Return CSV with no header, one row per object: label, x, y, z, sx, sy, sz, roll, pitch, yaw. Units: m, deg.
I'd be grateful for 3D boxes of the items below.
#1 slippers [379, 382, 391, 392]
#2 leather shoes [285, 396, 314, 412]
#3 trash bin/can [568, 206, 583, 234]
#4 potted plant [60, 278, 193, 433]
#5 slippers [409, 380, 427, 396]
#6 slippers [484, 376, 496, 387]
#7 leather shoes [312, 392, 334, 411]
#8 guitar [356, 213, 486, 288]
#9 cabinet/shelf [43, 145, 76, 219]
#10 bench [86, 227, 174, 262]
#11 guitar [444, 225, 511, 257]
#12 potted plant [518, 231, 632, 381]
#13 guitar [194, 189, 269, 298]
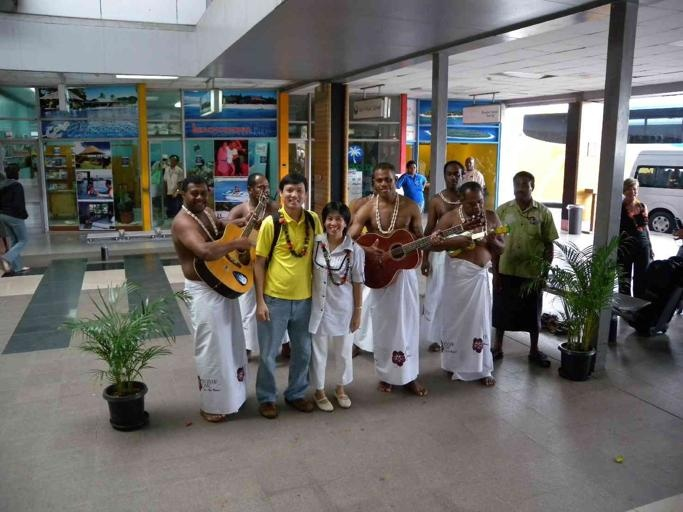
slippers,0.412,1.234,4.525,0.078,0.059,0.151,2,-7,0
leather shoes,-0.374,1.290,4.239,0.265,0.127,0.101,5,6,36
trash bin/can,6.221,-0.990,12.744,0.379,0.758,0.483,4,14,16
potted plant,-1.771,0.806,3.885,0.925,1.191,0.774,-1,-2,-6
slippers,0.718,1.252,4.571,0.076,0.151,0.217,-9,2,-35
slippers,1.437,1.228,4.691,0.058,0.067,0.135,15,-12,-22
leather shoes,-0.158,1.277,4.187,0.101,0.082,0.204,-2,18,-24
guitar,0.653,-0.036,4.227,0.170,0.511,1.216,-45,6,-23
cabinet/shelf,-7.258,-1.847,12.390,0.707,1.994,0.268,-6,19,-30
bench,-4.633,-0.391,10.621,1.705,0.311,1.968,-11,18,-37
guitar,1.200,-0.158,4.309,0.669,0.294,0.106,-14,-13,43
potted plant,2.363,0.490,5.453,1.207,1.962,1.085,0,4,-31
guitar,-0.832,-0.190,4.139,0.461,1.038,0.137,38,-38,-27
